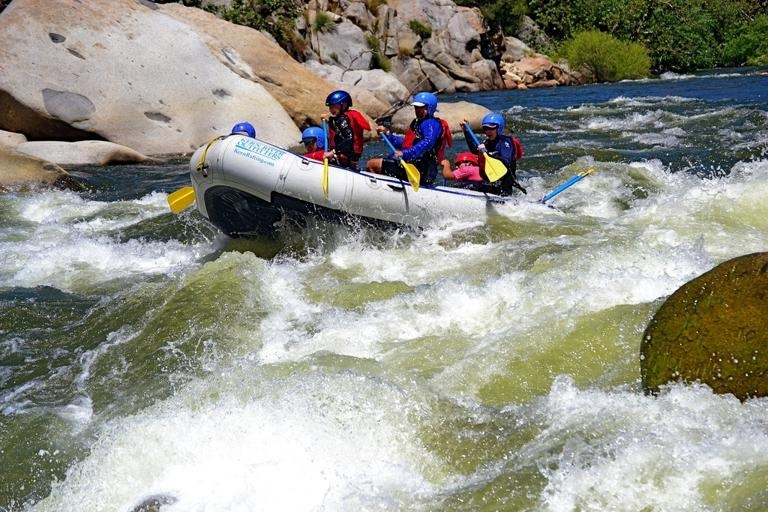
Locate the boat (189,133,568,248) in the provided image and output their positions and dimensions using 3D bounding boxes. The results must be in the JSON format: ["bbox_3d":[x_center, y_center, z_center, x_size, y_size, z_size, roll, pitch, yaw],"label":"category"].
[{"bbox_3d":[-0.709,-0.804,10.068,2.999,0.842,1.613,11,0,-22],"label":"boat"}]

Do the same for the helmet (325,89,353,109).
[{"bbox_3d":[-0.680,-2.340,10.758,0.350,0.208,0.264,-13,18,-36],"label":"helmet"}]

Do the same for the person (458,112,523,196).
[{"bbox_3d":[1.631,-1.273,11.086,1.002,1.733,0.799,0,6,7],"label":"person"}]

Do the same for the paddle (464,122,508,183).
[{"bbox_3d":[1.470,-1.568,10.896,0.359,0.149,1.367,-30,45,5],"label":"paddle"}]

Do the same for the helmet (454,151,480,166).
[{"bbox_3d":[1.311,-1.564,11.551,0.322,0.230,0.159,17,62,-8],"label":"helmet"}]

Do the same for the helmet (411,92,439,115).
[{"bbox_3d":[0.553,-2.275,10.786,0.463,0.344,0.344,-15,14,-32],"label":"helmet"}]

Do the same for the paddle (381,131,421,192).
[{"bbox_3d":[0.248,-1.399,10.482,0.335,0.120,1.429,-11,33,-8],"label":"paddle"}]
